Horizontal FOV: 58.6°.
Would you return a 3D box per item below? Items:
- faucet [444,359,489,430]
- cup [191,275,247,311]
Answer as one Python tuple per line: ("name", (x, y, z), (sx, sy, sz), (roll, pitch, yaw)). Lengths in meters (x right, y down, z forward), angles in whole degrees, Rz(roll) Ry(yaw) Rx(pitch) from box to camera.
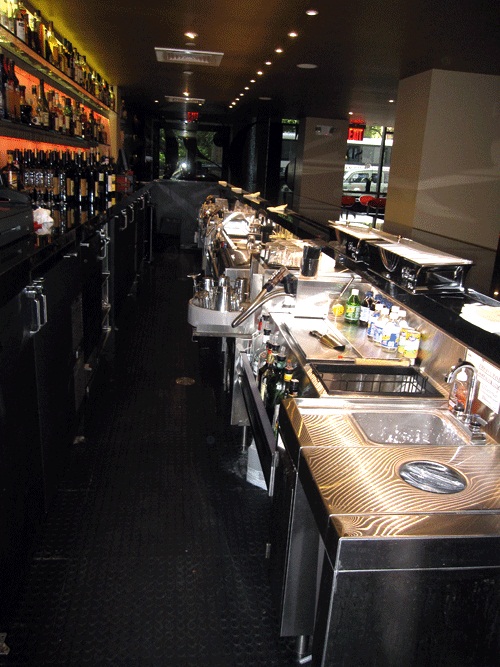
("faucet", (0.617, 0.177, 1.263), (0.093, 0.185, 0.151), (0, 24, 3))
("cup", (-0.177, -0.249, 2.733), (0.220, 0.123, 0.338), (2, 19, -12))
